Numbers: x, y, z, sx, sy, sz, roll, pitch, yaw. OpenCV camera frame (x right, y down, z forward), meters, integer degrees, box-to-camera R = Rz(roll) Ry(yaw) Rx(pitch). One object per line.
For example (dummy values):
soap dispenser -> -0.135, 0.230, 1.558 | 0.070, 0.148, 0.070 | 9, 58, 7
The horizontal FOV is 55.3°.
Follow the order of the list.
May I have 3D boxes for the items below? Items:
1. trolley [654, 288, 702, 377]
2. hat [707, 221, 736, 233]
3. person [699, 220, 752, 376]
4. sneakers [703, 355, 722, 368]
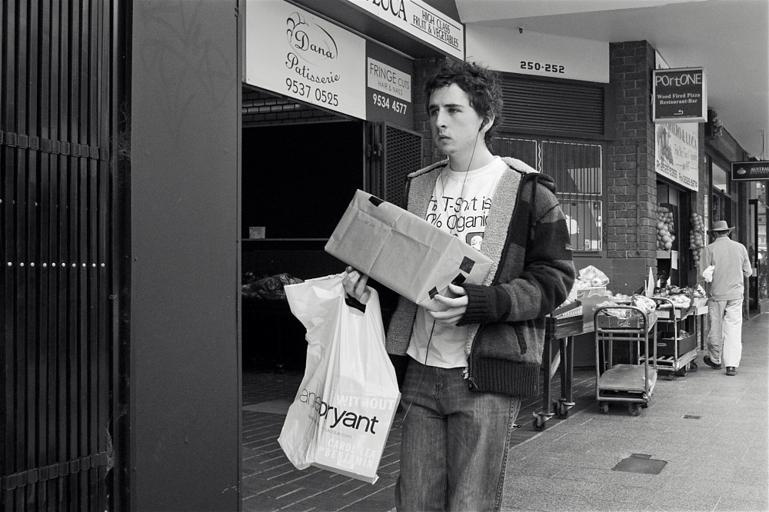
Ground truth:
trolley -> 4.342, 1.159, 11.045 | 0.647, 1.232, 1.874 | -2, -2, 31
hat -> 6.884, -0.601, 15.135 | 0.489, 0.225, 0.593 | -5, -8, 4
person -> 5.223, 0.751, 11.381 | 0.654, 2.066, 1.234 | 1, 3, 24
sneakers -> 5.131, 1.697, 11.544 | 0.110, 0.298, 0.142 | -20, 9, 39
